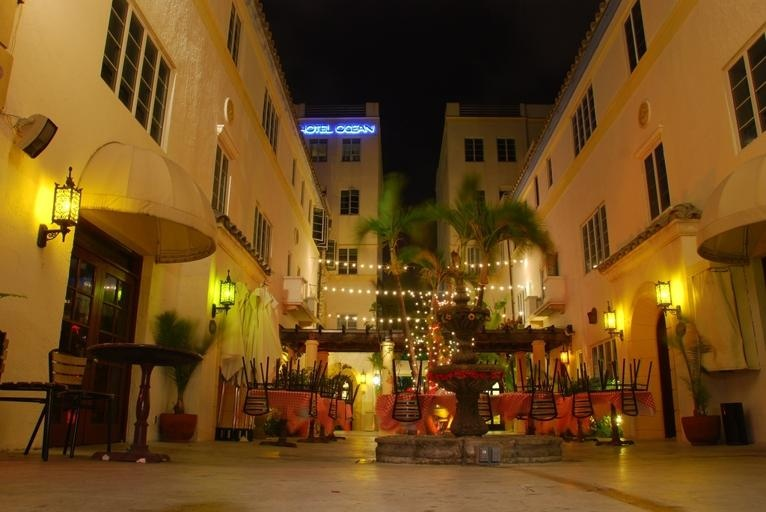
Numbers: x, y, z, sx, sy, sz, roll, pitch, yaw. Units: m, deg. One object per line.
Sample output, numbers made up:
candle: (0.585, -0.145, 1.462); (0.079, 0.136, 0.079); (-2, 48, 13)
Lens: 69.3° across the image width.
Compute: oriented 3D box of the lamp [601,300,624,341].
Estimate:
lamp: (6.523, 1.852, 15.679); (0.433, 1.096, 0.251); (0, -10, 10)

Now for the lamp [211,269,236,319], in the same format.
lamp: (-3.497, 0.903, 12.288); (0.399, 1.045, 0.542); (1, -18, -3)

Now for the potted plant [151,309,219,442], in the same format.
potted plant: (-4.090, 2.462, 11.078); (1.190, 2.384, 1.239); (-19, -25, 27)

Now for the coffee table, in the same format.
coffee table: (-3.185, 1.860, 7.264); (1.479, 1.501, 1.547); (2, -8, 4)

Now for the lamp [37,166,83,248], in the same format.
lamp: (-4.734, -0.630, 8.207); (0.772, 1.046, 0.462); (-14, -22, 37)

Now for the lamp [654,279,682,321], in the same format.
lamp: (6.513, 0.993, 12.709); (0.346, 1.112, 0.887); (-2, -18, 5)
